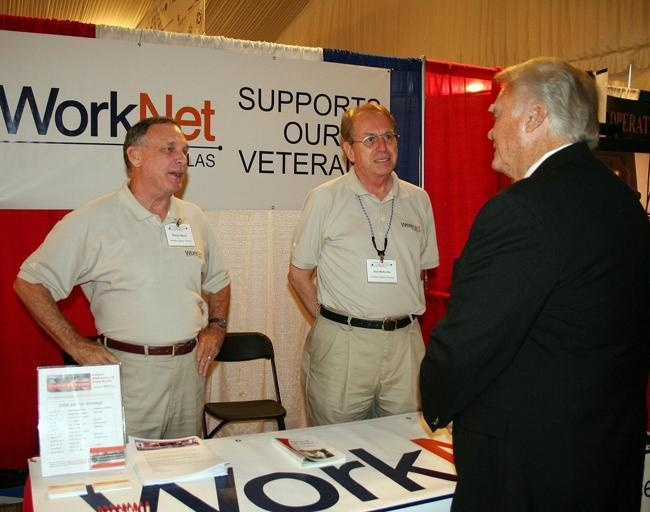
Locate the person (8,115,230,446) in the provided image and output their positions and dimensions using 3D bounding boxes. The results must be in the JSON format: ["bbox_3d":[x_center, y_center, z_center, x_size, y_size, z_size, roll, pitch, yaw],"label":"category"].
[{"bbox_3d":[-0.857,0.103,2.660,0.501,1.519,0.987,7,8,42],"label":"person"}]

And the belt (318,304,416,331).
[{"bbox_3d":[0.212,0.313,2.763,0.478,0.081,0.149,3,8,0],"label":"belt"}]

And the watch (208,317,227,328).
[{"bbox_3d":[-0.544,0.339,2.841,0.076,0.056,0.075,14,-32,-26],"label":"watch"}]

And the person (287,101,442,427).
[{"bbox_3d":[0.238,0.409,3.005,0.685,2.379,0.567,-2,10,-2],"label":"person"}]
